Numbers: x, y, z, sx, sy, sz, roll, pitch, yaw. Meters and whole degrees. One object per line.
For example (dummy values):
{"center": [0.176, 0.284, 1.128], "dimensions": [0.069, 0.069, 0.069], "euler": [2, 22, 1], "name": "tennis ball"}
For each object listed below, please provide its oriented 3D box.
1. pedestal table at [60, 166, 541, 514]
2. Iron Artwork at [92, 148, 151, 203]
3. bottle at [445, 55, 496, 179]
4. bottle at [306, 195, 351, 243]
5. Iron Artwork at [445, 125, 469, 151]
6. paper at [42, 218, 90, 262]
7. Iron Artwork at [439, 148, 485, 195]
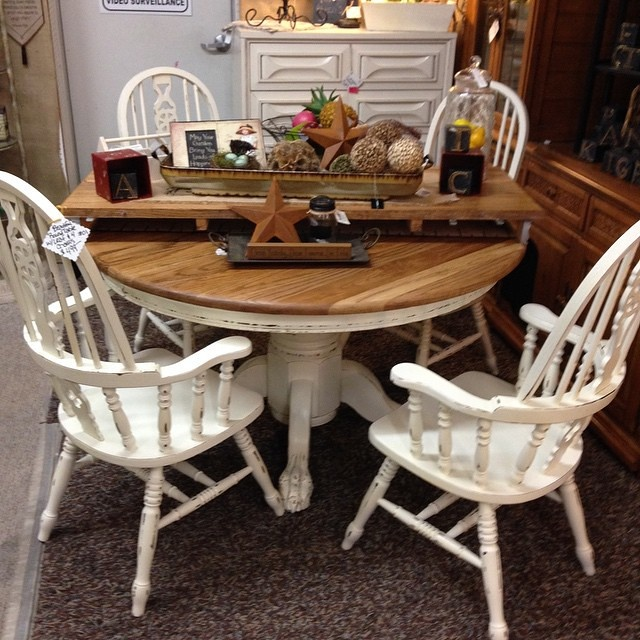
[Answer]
{"center": [-0.046, 0.045, 2.122], "dimensions": [1.491, 0.709, 1.221], "euler": [-1, 31, -5], "name": "pedestal table"}
{"center": [-0.591, -0.455, 1.802], "dimensions": [0.219, 0.159, 0.185], "euler": [-8, 28, -20], "name": "Iron Artwork"}
{"center": [0.557, -0.749, 2.112], "dimensions": [0.192, 0.368, 0.157], "euler": [-5, 35, -3], "name": "bottle"}
{"center": [-0.001, -0.268, 1.593], "dimensions": [0.161, 0.122, 0.130], "euler": [0, 37, -3], "name": "bottle"}
{"center": [0.415, -0.573, 1.813], "dimensions": [0.097, 0.071, 0.078], "euler": [2, 30, 4], "name": "Iron Artwork"}
{"center": [-0.440, -0.133, 1.026], "dimensions": [0.096, 0.072, 0.022], "euler": [15, -12, 8], "name": "paper"}
{"center": [0.419, -0.476, 1.871], "dimensions": [0.212, 0.152, 0.127], "euler": [2, 24, 7], "name": "Iron Artwork"}
